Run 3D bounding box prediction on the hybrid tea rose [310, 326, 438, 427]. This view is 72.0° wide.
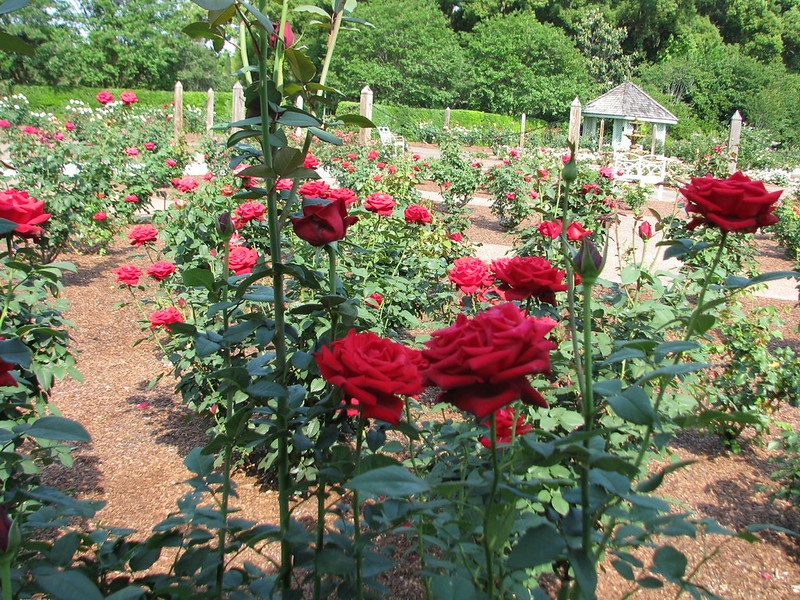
[{"bbox_3d":[-0.076,0.184,1.279,0.261,0.210,0.163,2,12,2],"label":"hybrid tea rose"}]

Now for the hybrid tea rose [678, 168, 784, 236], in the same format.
[{"bbox_3d":[0.928,-0.272,1.627,0.253,0.154,0.223,2,20,-8],"label":"hybrid tea rose"}]
